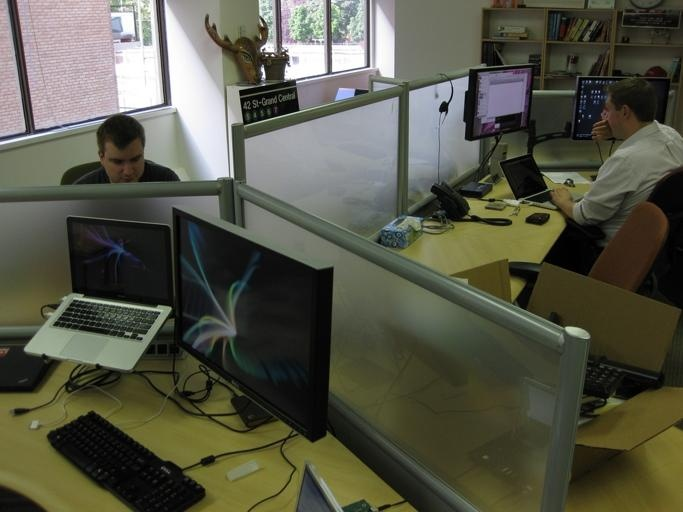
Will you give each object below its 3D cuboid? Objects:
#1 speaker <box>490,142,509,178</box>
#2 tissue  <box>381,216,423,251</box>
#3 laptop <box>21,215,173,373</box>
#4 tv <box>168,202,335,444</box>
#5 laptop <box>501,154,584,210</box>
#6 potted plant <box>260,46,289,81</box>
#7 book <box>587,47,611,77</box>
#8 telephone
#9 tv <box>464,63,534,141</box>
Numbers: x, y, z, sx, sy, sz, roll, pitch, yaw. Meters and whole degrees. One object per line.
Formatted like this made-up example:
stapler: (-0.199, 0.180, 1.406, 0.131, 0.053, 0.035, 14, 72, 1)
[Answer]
speaker: (1.019, -0.608, 3.474, 0.137, 0.258, 0.092, 2, -5, -7)
tissue : (0.282, -0.122, 2.569, 0.117, 0.082, 0.200, 9, 27, 23)
laptop: (-0.729, 0.099, 1.624, 0.404, 0.296, 0.370, 13, 33, 17)
tv: (-0.237, 0.191, 1.444, 0.073, 0.410, 0.541, -15, 29, -42)
laptop: (1.223, -0.540, 3.468, 0.473, 0.305, 0.540, 8, 21, 27)
potted plant: (-0.705, -2.005, 5.763, 0.300, 0.324, 0.316, -3, 24, -5)
book: (2.786, -2.036, 5.878, 0.086, 0.278, 0.266, 11, 5, -13)
telephone: (0.662, -0.286, 2.805, 0.379, 0.201, 0.205, 3, 20, 18)
tv: (0.937, -0.896, 3.208, 0.531, 0.380, 0.043, -15, 24, -33)
